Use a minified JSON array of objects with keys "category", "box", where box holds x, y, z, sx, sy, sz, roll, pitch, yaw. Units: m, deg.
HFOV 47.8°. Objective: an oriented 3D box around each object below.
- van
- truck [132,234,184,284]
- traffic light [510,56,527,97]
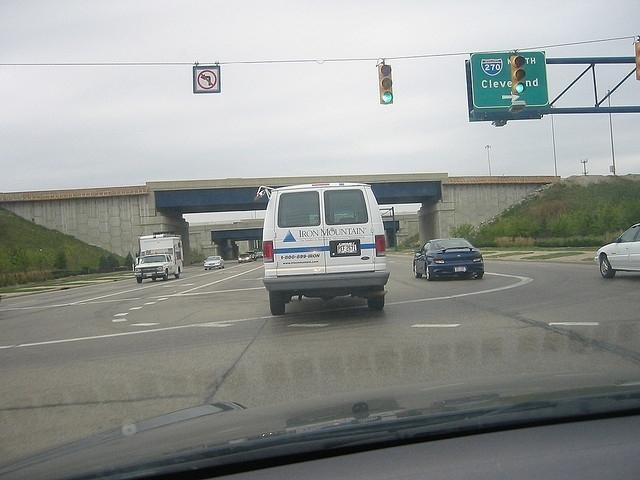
[{"category":"van","box":[-0.074,1.041,15.725,2.593,2.776,4.795,-4,-23,-6]},{"category":"truck","box":[-9.548,0.865,41.326,1.742,2.259,4.020,-2,-5,0]},{"category":"traffic light","box":[5.992,-4.991,21.740,0.380,0.884,1.324,-3,1,15]}]
